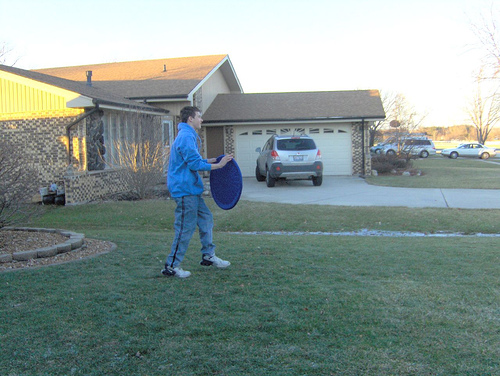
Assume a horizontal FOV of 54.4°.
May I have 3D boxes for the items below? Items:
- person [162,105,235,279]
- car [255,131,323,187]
[{"bbox_3d":[-0.737,0.052,6.437,0.831,2.198,1.189,-1,13,-6],"label":"person"},{"bbox_3d":[1.371,-1.045,17.983,2.150,1.951,2.441,-1,13,-6],"label":"car"}]
